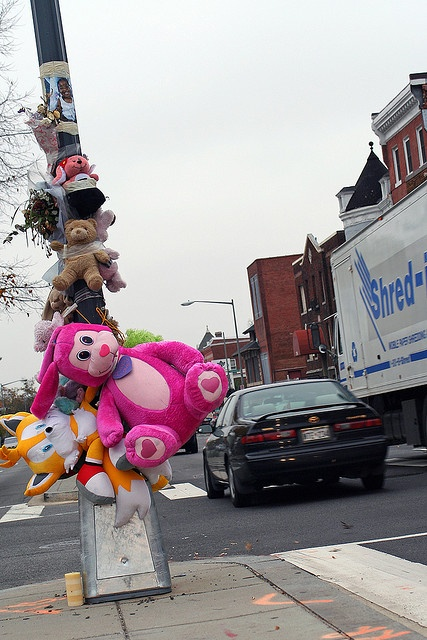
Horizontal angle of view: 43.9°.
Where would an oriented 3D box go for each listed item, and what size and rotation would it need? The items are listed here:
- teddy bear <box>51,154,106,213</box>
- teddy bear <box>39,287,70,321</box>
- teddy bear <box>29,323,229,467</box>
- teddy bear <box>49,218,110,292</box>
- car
[{"bbox_3d":[-1.047,-1.064,4.081,0.372,0.542,0.270,-5,-6,-16],"label":"teddy bear"},{"bbox_3d":[-1.132,-0.115,3.858,0.217,0.247,0.108,35,8,23],"label":"teddy bear"},{"bbox_3d":[-0.497,0.465,3.210,1.166,0.936,0.414,-6,-6,-6],"label":"teddy bear"},{"bbox_3d":[-0.992,-0.505,3.898,0.442,0.525,0.340,-4,9,-13],"label":"teddy bear"},{"bbox_3d":[1.033,1.846,8.741,1.542,0.965,3.082,-3,-6,-9],"label":"car"}]
